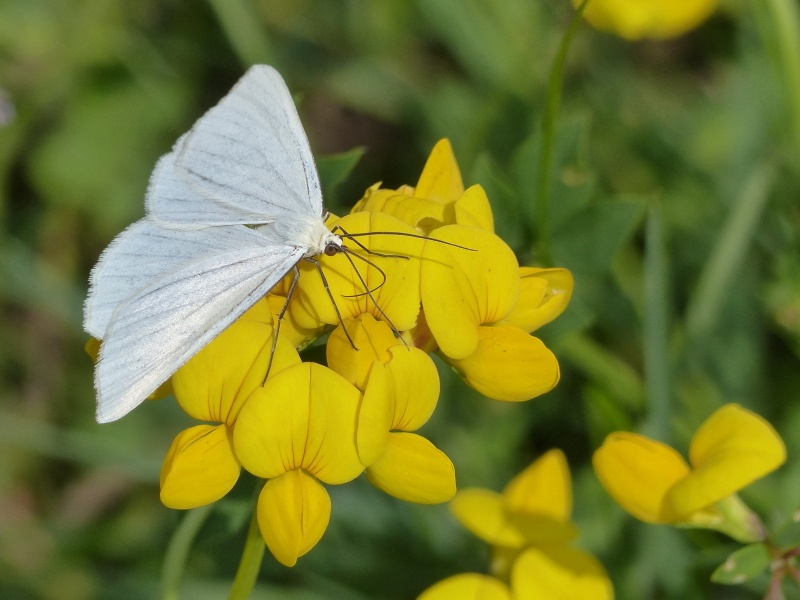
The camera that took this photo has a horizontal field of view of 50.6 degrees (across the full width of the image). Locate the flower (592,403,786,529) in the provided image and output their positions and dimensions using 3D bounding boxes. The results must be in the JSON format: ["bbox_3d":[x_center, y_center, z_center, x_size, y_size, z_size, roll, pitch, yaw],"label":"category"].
[{"bbox_3d":[0.517,0.294,1.514,0.231,0.105,0.233,-11,13,26],"label":"flower"}]

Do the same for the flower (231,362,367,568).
[{"bbox_3d":[-0.182,0.336,1.538,0.244,0.118,0.378,6,10,-4],"label":"flower"}]

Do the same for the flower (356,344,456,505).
[{"bbox_3d":[0.008,0.230,1.554,0.158,0.259,0.250,-6,51,-2],"label":"flower"}]
